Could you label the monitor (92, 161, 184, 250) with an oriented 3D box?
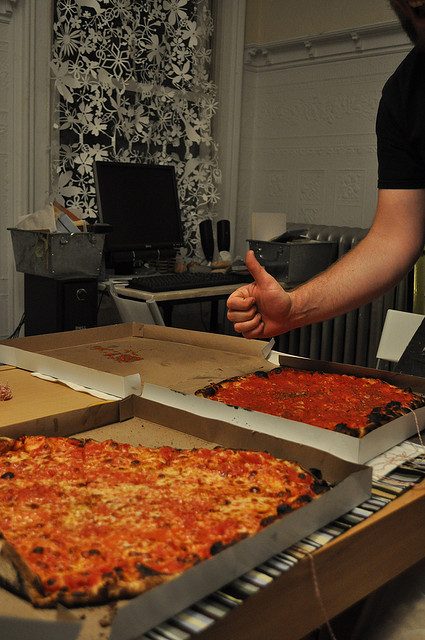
[{"bbox_3d":[-0.391,-0.646,2.793,0.127,0.494,0.591,4,9,38],"label":"monitor"}]
